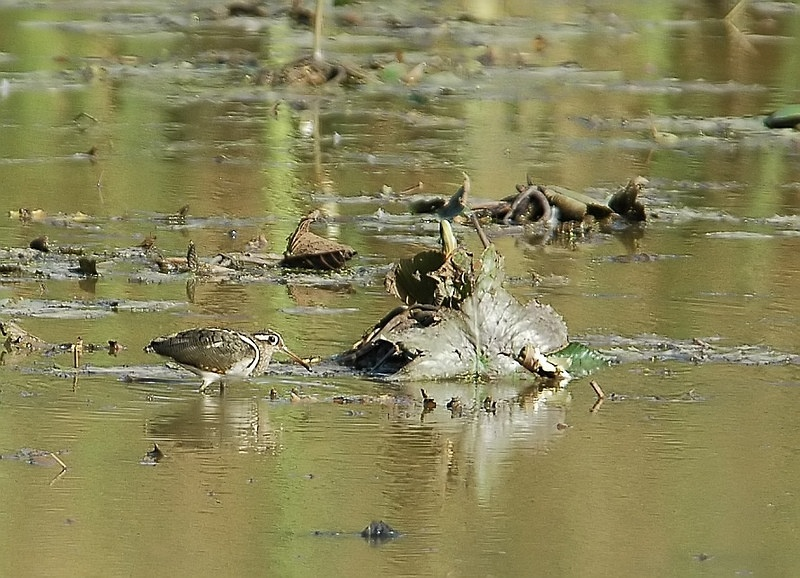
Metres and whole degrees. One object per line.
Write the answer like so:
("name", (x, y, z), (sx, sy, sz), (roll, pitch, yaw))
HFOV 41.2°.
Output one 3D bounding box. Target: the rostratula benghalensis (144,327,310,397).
("rostratula benghalensis", (-1.079, 0.417, 6.713), (1.074, 0.319, 0.331), (8, 7, 21))
